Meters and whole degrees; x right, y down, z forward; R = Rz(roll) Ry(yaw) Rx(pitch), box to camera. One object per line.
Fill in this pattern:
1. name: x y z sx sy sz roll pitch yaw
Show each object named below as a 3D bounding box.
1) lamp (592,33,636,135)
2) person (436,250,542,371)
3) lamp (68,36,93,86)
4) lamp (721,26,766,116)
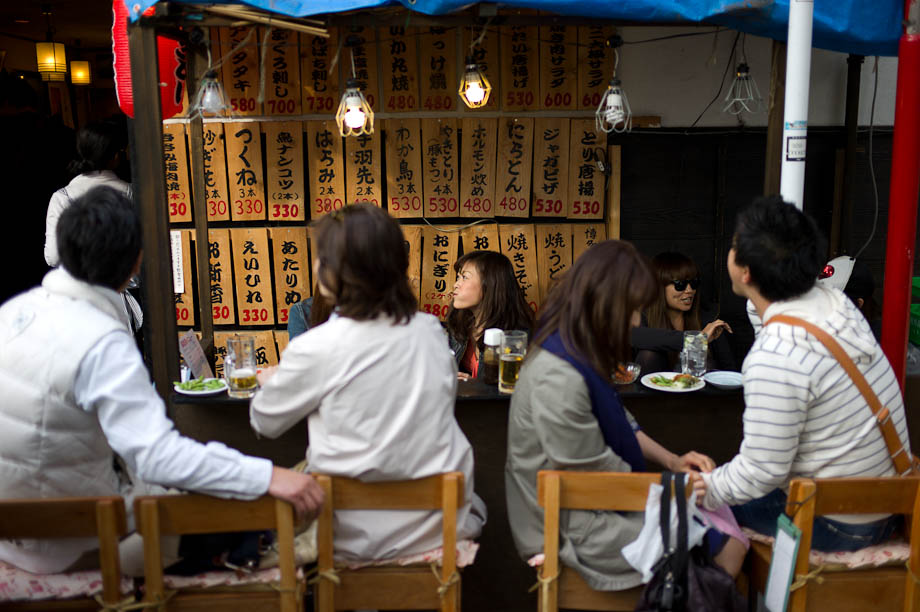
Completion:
1. lamp: 1.089 -1.592 5.687 0.270 0.682 0.981 0 7 10
2. person: 0.211 0.025 5.503 0.615 0.798 0.576 4 3 12
3. lamp: -4.304 -2.745 9.101 0.246 0.524 0.641 -5 7 -24
4. lamp: 2.087 -1.707 5.938 0.292 0.664 0.627 1 7 19
